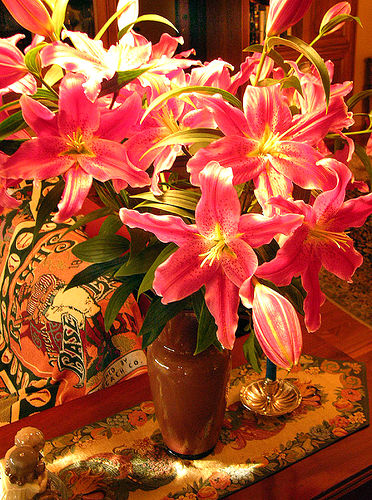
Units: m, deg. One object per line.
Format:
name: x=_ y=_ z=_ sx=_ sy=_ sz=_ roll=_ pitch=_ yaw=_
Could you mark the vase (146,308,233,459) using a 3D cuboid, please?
vase: x=0.008 y=0.175 z=0.572 sx=0.113 sy=0.195 sz=0.107 roll=-9 pitch=13 yaw=-40
